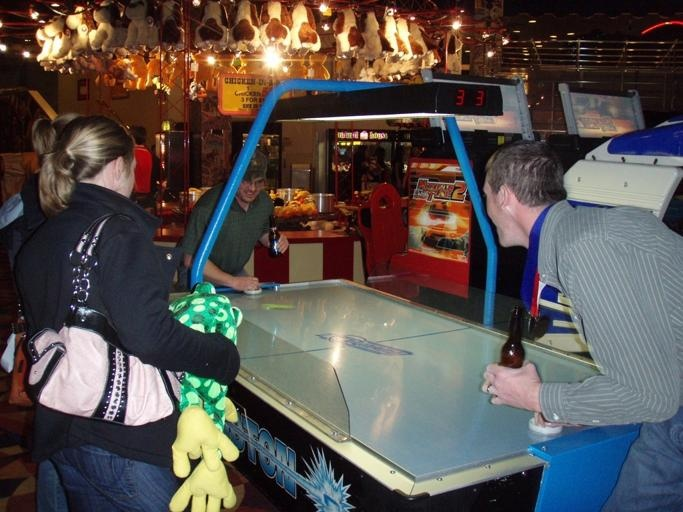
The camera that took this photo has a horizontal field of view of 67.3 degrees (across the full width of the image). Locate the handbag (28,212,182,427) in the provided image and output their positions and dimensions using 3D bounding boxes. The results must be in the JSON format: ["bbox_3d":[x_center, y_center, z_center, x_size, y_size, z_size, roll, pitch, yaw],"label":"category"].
[{"bbox_3d":[-0.683,0.275,1.479,0.385,0.263,0.519,16,46,-27],"label":"handbag"}]

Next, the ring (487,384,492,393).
[{"bbox_3d":[0.443,0.397,1.533,0.019,0.015,0.019,-2,-2,0],"label":"ring"}]

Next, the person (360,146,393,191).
[{"bbox_3d":[0.677,-1.723,10.087,0.644,1.034,0.361,0,-2,-5],"label":"person"}]
